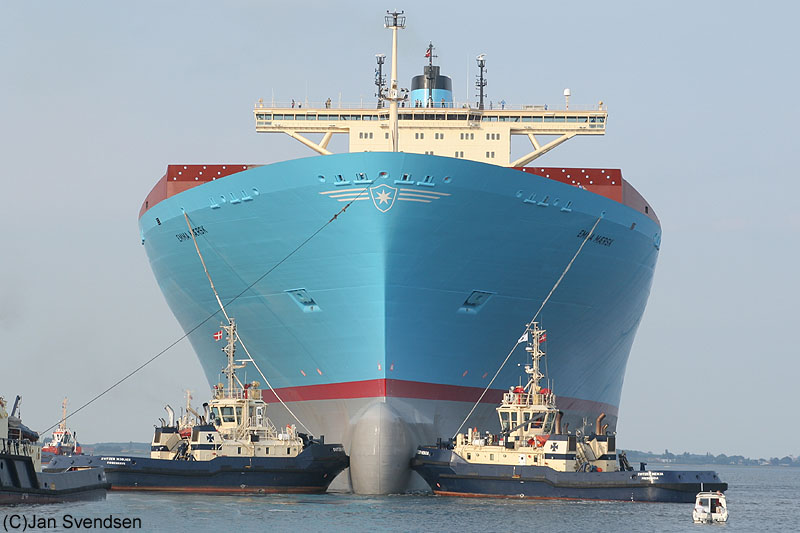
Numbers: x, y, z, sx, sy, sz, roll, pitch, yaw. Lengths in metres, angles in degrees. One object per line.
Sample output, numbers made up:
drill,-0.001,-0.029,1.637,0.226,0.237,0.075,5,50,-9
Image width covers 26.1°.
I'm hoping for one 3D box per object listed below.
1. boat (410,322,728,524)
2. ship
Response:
boat,5.046,4.715,57.522,9.030,6.024,2.072,2,-5,1
ship,1.144,2.095,75.311,20.878,14.893,39.517,-1,-6,3
